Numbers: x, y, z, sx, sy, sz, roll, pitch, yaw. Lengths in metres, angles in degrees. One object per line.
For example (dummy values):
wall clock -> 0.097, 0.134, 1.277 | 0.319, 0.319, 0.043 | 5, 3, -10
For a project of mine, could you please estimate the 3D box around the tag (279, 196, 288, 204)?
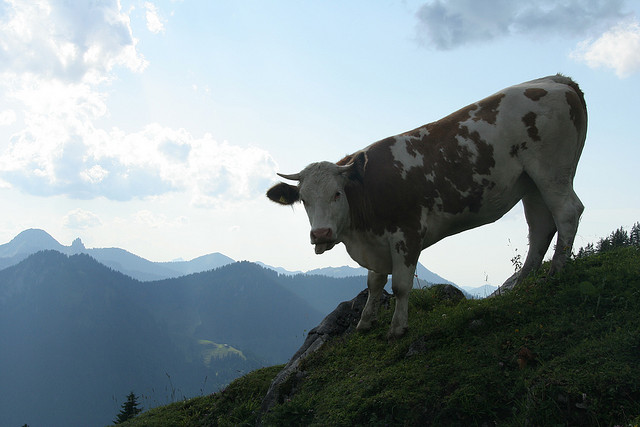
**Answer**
tag -> -1.064, -0.397, 15.385 | 0.191, 0.204, 0.046 | -10, 2, -28
